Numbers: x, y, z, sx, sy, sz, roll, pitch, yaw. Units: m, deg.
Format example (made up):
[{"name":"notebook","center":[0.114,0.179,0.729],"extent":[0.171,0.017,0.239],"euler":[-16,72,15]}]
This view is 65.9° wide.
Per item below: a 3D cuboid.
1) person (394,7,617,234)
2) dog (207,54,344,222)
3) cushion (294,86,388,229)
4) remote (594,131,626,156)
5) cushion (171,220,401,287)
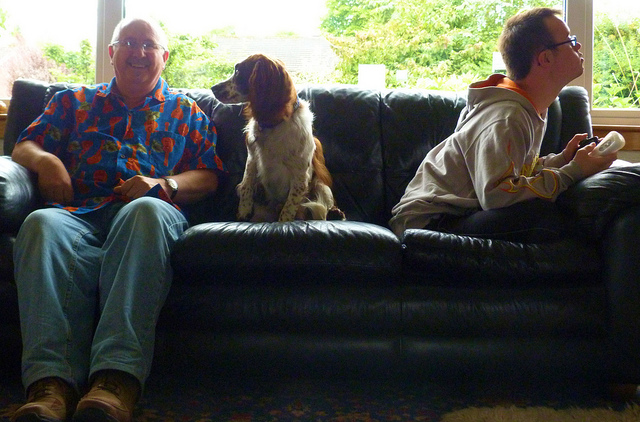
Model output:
[{"name":"person","center":[0.927,-0.440,2.629],"extent":[1.149,1.220,0.893],"euler":[2,8,2]},{"name":"dog","center":[-0.293,-0.350,2.848],"extent":[0.736,1.066,0.814],"euler":[2,2,43]},{"name":"cushion","center":[0.246,-0.321,2.991],"extent":[0.696,0.671,0.712],"euler":[-2,3,2]},{"name":"remote","center":[1.293,-0.296,2.180],"extent":[0.046,0.074,0.139],"euler":[-2,-26,-41]},{"name":"cushion","center":[-0.136,0.190,2.093],"extent":[0.957,0.247,0.185],"euler":[1,13,1]}]
